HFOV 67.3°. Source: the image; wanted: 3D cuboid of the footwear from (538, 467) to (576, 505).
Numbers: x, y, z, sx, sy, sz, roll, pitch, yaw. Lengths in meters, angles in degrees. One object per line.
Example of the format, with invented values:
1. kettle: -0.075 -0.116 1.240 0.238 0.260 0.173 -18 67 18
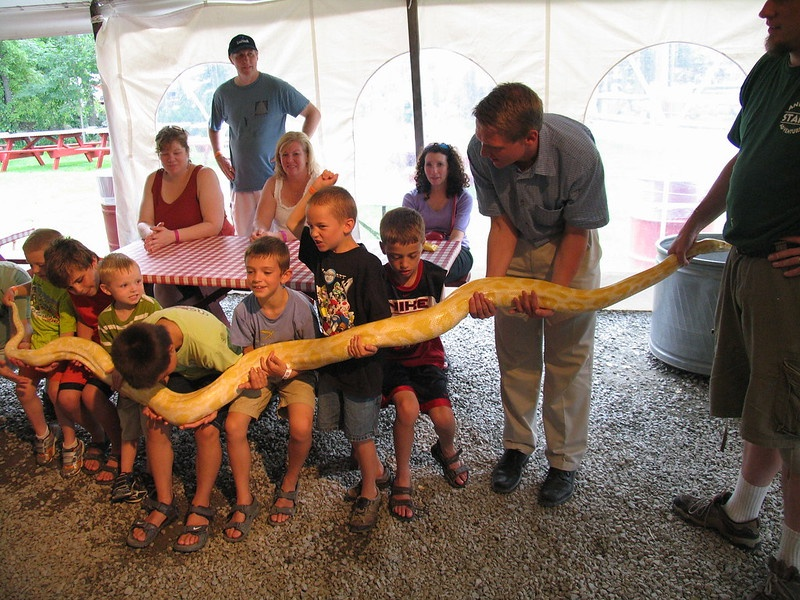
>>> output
1. footwear: 1.086 1.307 4.181 0.135 0.142 0.346 1 17 27

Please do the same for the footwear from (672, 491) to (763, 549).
1. footwear: 2.031 1.367 3.963 0.215 0.270 0.552 -20 29 -33

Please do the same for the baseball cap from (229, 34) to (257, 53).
1. baseball cap: -1.688 -2.697 6.362 0.273 0.196 0.201 -9 19 -19

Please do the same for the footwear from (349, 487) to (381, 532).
1. footwear: -0.238 1.425 4.071 0.136 0.122 0.276 0 33 17
